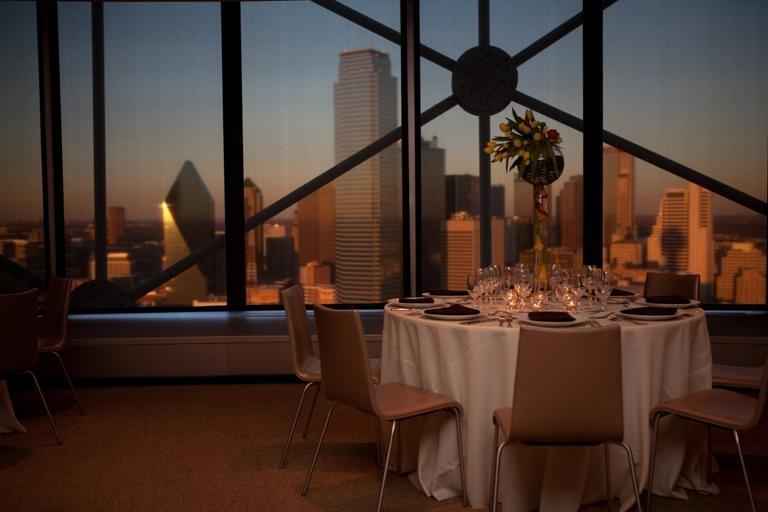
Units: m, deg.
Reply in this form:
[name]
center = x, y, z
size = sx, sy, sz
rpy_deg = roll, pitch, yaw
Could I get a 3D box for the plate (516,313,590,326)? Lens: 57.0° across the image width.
[plate]
center = 1.201, 0.430, 4.997
size = 0.500, 0.083, 0.297
rpy_deg = 0, 5, 5

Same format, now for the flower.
[flower]
center = 1.168, -0.896, 5.673
size = 0.387, 0.418, 0.377
rpy_deg = -5, -6, -43

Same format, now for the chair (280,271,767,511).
[chair]
center = 0.893, 1.051, 5.206
size = 2.906, 1.358, 1.025
rpy_deg = 1, 6, 19

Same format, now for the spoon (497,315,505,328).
[spoon]
center = 0.821, 0.453, 4.962
size = 0.041, 0.059, 0.021
rpy_deg = -4, -28, 11
